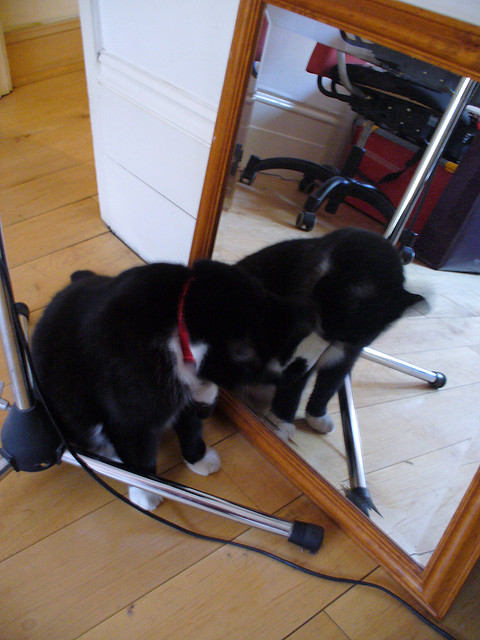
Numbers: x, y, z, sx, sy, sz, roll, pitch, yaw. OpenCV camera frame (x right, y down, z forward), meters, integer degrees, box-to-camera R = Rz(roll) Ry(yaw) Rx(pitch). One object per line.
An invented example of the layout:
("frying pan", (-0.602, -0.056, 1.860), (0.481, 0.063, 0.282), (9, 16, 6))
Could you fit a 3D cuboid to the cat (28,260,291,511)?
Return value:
("cat", (-0.210, 0.105, 0.939), (0.607, 0.377, 0.236), (8, 21, 24))
